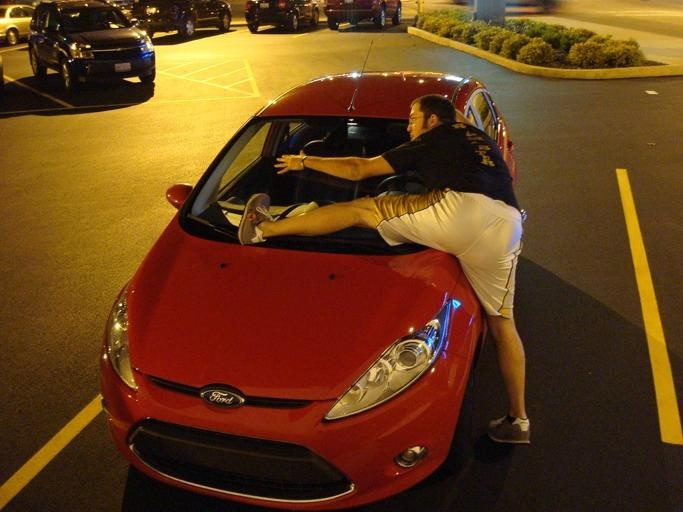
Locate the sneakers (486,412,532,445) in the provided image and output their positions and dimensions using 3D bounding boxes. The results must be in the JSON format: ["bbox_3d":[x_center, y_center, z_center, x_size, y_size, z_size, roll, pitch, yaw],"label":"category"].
[{"bbox_3d":[1.101,1.148,3.475,0.153,0.147,0.310,-12,17,-39],"label":"sneakers"}]

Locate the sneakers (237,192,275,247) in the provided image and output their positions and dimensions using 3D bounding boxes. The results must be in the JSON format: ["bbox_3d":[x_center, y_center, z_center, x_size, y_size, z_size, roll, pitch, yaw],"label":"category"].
[{"bbox_3d":[-0.571,-0.233,3.429,0.188,0.148,0.438,-6,46,27],"label":"sneakers"}]

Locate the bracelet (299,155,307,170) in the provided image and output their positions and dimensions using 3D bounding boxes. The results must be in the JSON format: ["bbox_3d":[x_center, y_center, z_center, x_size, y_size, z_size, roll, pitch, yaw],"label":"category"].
[{"bbox_3d":[-0.275,-0.688,3.784,0.066,0.078,0.088,7,49,3],"label":"bracelet"}]
